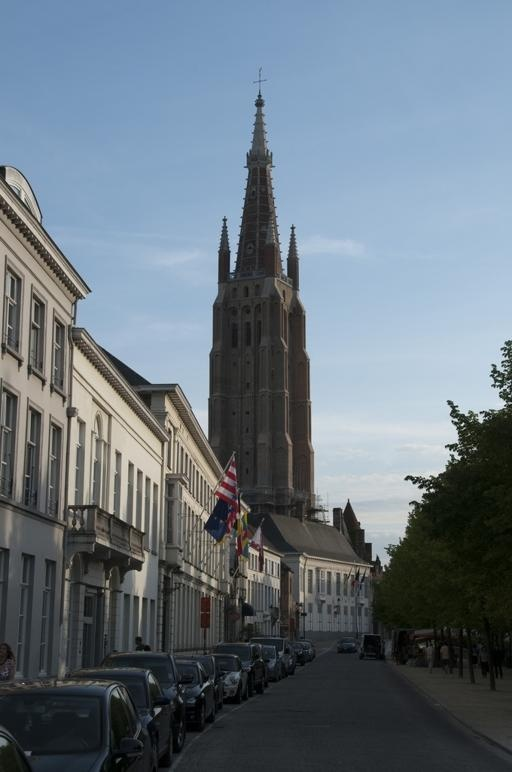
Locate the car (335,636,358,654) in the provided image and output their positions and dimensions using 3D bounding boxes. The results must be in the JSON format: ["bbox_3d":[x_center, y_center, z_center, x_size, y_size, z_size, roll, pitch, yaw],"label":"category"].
[{"bbox_3d":[9.127,25.758,101.781,1.914,1.589,3.627,-3,-18,1],"label":"car"}]

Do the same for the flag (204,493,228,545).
[{"bbox_3d":[-1.483,5.185,39.975,0.847,1.809,1.187,-1,-17,-3],"label":"flag"}]
